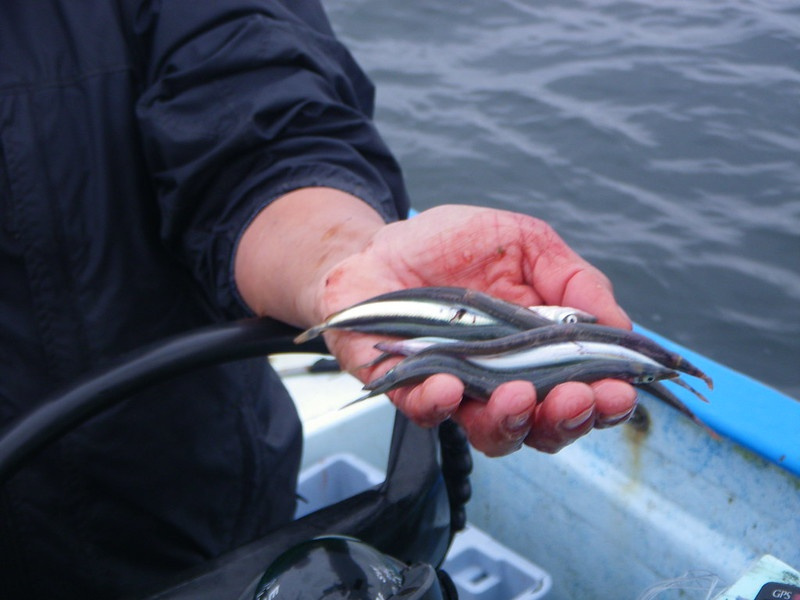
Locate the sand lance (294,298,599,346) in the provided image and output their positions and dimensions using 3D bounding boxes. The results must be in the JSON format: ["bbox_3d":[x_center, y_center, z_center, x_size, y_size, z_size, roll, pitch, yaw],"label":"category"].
[{"bbox_3d":[0.079,0.033,1.578,0.575,0.095,0.105,1,77,20],"label":"sand lance"}]

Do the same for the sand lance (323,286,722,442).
[{"bbox_3d":[0.252,0.076,1.530,0.159,0.124,0.570,-46,32,-14],"label":"sand lance"}]
